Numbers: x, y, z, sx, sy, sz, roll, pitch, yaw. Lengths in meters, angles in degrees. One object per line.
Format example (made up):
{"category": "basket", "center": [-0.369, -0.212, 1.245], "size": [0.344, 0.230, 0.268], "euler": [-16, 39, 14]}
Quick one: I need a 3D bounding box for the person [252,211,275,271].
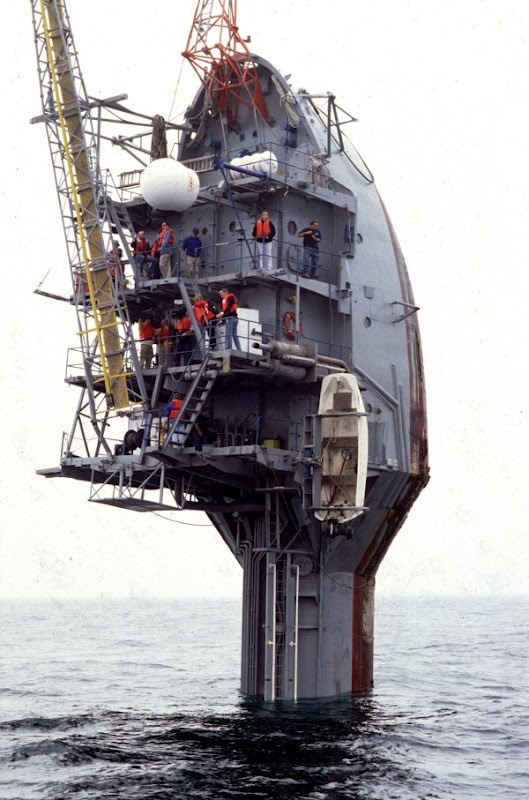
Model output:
{"category": "person", "center": [-0.035, -4.582, 46.202], "size": [0.606, 1.845, 1.559], "euler": [2, -4, 0]}

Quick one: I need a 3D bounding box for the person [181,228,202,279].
{"category": "person", "center": [-2.243, -4.548, 48.181], "size": [0.630, 1.653, 1.222], "euler": [2, -3, -3]}

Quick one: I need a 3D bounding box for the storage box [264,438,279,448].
{"category": "storage box", "center": [0.236, 1.281, 46.726], "size": [0.307, 0.323, 0.315], "euler": [-3, -5, 42]}

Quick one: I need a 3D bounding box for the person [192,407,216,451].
{"category": "person", "center": [-1.783, 0.868, 46.191], "size": [0.643, 1.259, 1.705], "euler": [2, -4, 0]}

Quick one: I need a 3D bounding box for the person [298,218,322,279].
{"category": "person", "center": [1.342, -4.567, 47.466], "size": [0.623, 1.717, 0.778], "euler": [2, -3, 1]}
